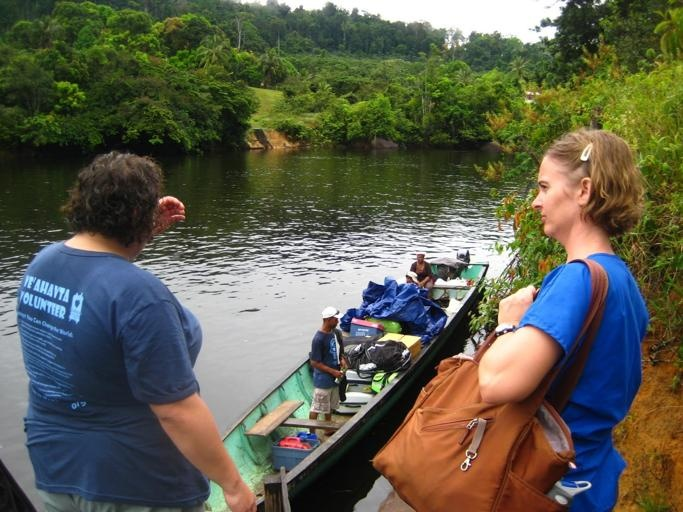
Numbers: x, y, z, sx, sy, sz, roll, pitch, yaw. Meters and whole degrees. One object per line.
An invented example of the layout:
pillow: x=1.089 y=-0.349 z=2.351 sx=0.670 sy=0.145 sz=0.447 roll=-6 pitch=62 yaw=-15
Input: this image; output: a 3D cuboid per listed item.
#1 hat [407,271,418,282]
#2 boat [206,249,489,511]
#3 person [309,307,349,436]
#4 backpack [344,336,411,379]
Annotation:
hat: x=1.325 y=0.399 z=12.261 sx=0.165 sy=0.172 sz=0.226 roll=11 pitch=-24 yaw=35
boat: x=0.923 y=1.547 z=9.438 sx=1.563 sy=1.048 sz=7.476 roll=-8 pitch=18 yaw=35
person: x=-0.197 y=1.409 z=8.242 sx=0.437 sy=1.508 sz=0.825 roll=0 pitch=14 yaw=0
backpack: x=0.461 y=1.424 z=8.833 sx=0.693 sy=0.289 sz=0.516 roll=-13 pitch=5 yaw=28
